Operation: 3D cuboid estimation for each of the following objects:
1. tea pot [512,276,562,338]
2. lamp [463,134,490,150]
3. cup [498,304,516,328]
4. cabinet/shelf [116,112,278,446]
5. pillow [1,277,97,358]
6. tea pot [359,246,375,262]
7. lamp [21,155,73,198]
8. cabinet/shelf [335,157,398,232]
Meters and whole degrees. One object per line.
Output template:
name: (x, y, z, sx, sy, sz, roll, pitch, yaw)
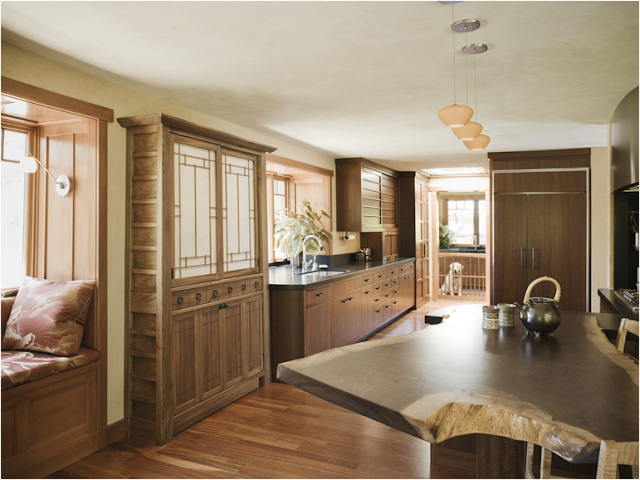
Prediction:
tea pot: (1.331, 0.400, 2.782, 0.292, 0.318, 0.236, -1, 8, -19)
lamp: (1.258, -0.780, 3.640, 0.193, 0.076, 0.183, 0, 3, 13)
cup: (1.210, 0.502, 3.018, 0.141, 0.131, 0.142, 0, -4, 0)
cabinet/shelf: (-1.087, 0.260, 3.931, 0.555, 2.511, 1.379, 5, 9, 28)
pillow: (-1.963, 0.570, 3.340, 0.578, 0.510, 0.196, 5, -25, -2)
tea pot: (0.784, 0.248, 7.552, 0.242, 0.210, 0.198, 1, -1, 27)
lamp: (-2.102, -0.485, 3.504, 0.180, 0.327, 0.313, 22, 18, 35)
cabinet/shelf: (0.894, -0.650, 7.940, 0.477, 1.118, 2.104, 0, 1, 25)
